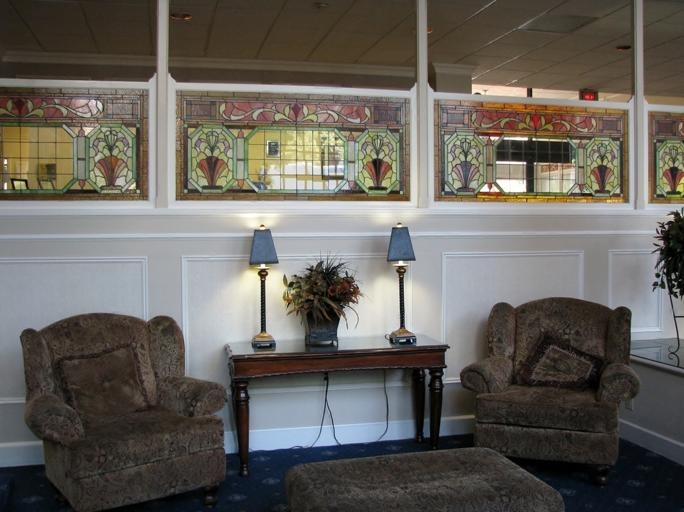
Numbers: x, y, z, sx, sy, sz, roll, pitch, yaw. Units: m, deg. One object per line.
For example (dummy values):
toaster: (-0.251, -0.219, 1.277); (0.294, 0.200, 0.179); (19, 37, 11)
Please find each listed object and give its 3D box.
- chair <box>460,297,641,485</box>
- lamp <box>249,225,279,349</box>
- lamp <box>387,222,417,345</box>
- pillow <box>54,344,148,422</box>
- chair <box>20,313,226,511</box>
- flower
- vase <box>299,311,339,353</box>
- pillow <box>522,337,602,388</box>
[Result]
chair: (1.746, 1.025, 4.885); (1.201, 1.296, 1.192); (-1, -5, 29)
lamp: (-0.647, 0.240, 4.953); (0.246, 0.975, 0.506); (-2, 11, -7)
lamp: (0.515, 0.213, 5.128); (0.251, 0.972, 0.589); (1, 11, 5)
pillow: (-1.769, 0.939, 4.406); (0.516, 0.507, 0.144); (-5, -11, -27)
chair: (-1.639, 0.991, 4.584); (1.492, 1.374, 1.351); (0, -4, -32)
flower: (-0.189, 0.294, 5.140); (0.597, 0.420, 0.602); (1, 4, -3)
vase: (-0.196, 0.629, 4.965); (0.302, 0.296, 0.258); (1, -3, -13)
pillow: (1.785, 0.846, 4.795); (0.410, 0.407, 0.128); (18, -20, 26)
